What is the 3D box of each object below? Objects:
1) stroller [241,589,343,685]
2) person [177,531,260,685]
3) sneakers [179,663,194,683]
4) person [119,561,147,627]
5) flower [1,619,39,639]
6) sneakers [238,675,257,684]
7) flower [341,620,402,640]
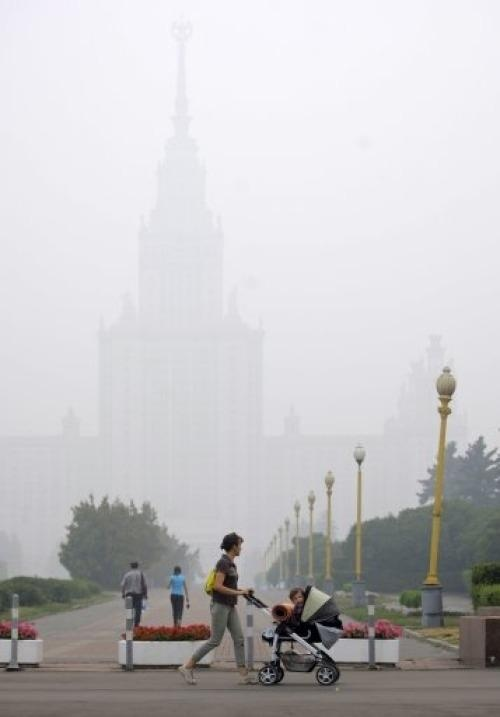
[{"bbox_3d":[0.643,4.087,23.580,1.514,1.707,0.963,0,-16,6],"label":"stroller"},{"bbox_3d":[-0.400,3.559,22.999,1.004,2.142,0.797,4,0,-2],"label":"person"},{"bbox_3d":[-0.893,4.485,23.008,0.229,0.282,0.439,4,0,-2],"label":"sneakers"},{"bbox_3d":[-2.365,4.893,33.127,0.495,1.378,2.079,3,0,-3],"label":"person"},{"bbox_3d":[-3.809,4.477,26.528,0.428,0.287,0.454,1,4,10],"label":"flower"},{"bbox_3d":[-0.019,4.574,23.068,0.220,0.137,0.116,2,-2,-15],"label":"sneakers"},{"bbox_3d":[1.994,4.453,26.525,0.934,0.307,0.648,4,-1,5],"label":"flower"}]
